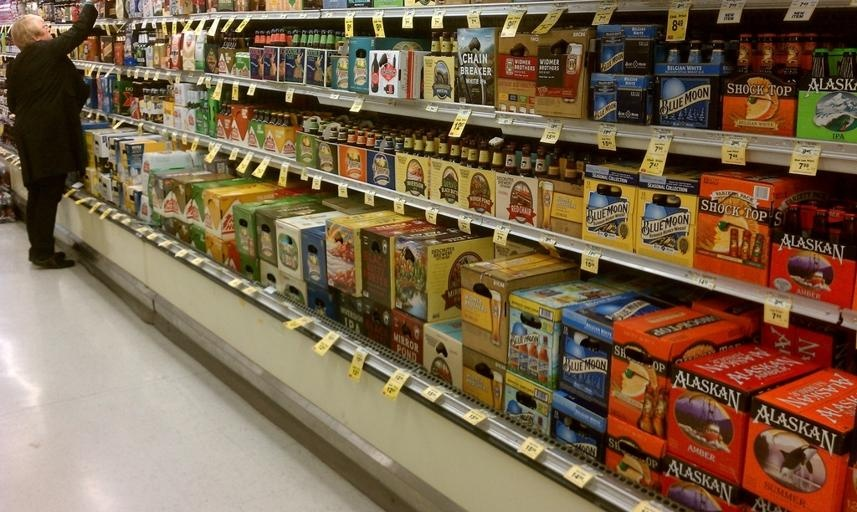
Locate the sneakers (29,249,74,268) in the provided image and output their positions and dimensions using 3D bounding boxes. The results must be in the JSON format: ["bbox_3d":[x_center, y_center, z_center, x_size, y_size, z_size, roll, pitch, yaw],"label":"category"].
[{"bbox_3d":[-4.386,0.040,6.476,0.377,0.132,0.227,-9,16,-24],"label":"sneakers"}]
